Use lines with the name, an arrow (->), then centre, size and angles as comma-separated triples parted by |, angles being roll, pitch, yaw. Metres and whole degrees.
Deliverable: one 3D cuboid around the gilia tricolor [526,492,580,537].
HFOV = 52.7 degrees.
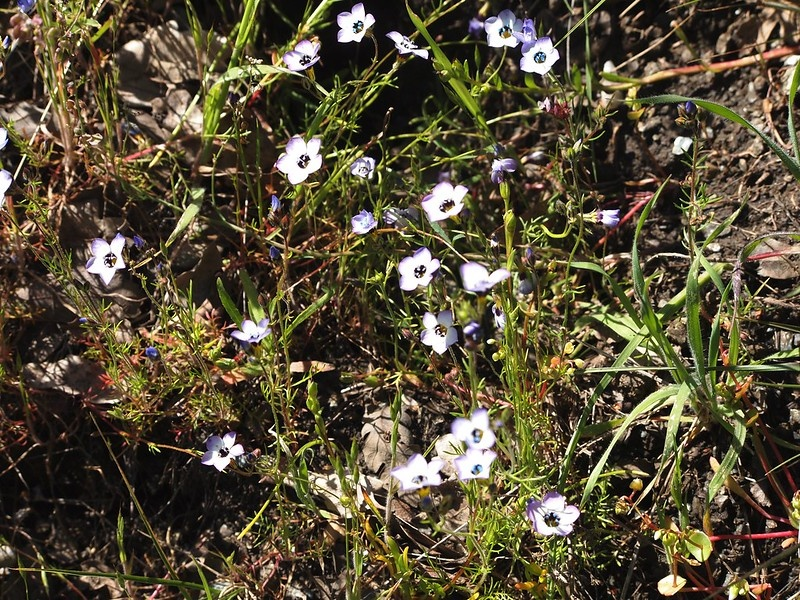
gilia tricolor -> 0.642, 0.900, 3.343 | 0.203, 0.235, 0.110 | 7, 92, -25
